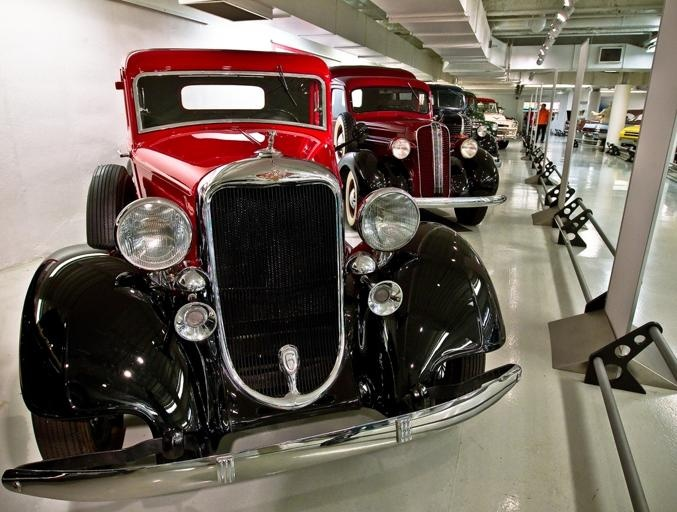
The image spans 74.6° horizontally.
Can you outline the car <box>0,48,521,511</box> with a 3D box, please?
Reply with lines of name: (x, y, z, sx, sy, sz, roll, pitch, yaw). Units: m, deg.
car: (-0.770, -0.142, 2.964, 1.895, 1.647, 3.216, -5, 16, -23)
